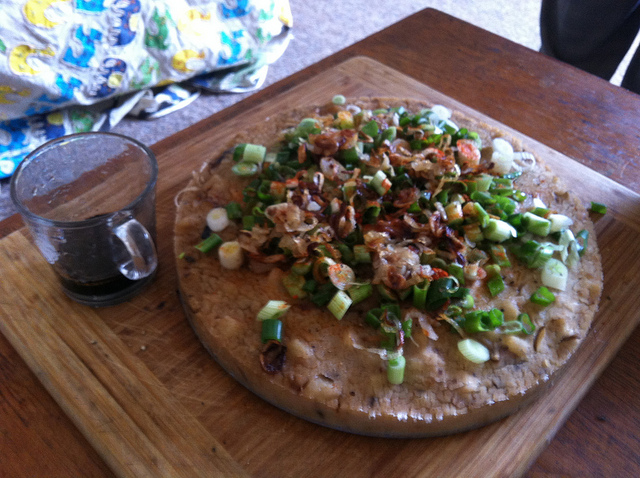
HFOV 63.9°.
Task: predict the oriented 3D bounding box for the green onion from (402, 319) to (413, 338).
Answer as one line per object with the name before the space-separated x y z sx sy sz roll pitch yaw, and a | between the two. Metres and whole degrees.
green onion | 0.252 0.262 1.493 0.030 0.011 0.049 8 76 42

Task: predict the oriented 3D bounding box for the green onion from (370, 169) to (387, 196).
green onion | 0.188 -0.185 1.678 0.052 0.070 0.061 37 83 -12

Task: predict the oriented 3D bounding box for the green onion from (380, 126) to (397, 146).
green onion | 0.246 -0.372 1.854 0.076 0.020 0.044 -35 73 -14

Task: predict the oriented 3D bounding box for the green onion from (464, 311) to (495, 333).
green onion | 0.469 0.239 1.503 0.067 0.058 0.073 8 85 9

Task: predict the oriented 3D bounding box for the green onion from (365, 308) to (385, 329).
green onion | 0.160 0.232 1.522 0.051 0.033 0.052 13 49 16

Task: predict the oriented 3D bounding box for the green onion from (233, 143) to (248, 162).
green onion | -0.282 -0.309 1.838 0.020 0.043 0.056 20 69 -20

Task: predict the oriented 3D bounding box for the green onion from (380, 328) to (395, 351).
green onion | 0.198 0.303 1.486 0.051 0.017 0.056 14 63 8

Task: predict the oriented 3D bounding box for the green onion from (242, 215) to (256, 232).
green onion | -0.238 -0.051 1.688 0.039 0.013 0.044 9 81 9

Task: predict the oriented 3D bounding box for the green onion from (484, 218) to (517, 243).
green onion | 0.576 -0.029 1.645 0.089 0.032 0.065 8 58 -1

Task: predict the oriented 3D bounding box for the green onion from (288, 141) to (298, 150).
green onion | -0.096 -0.337 1.843 0.043 0.012 0.045 -2 83 37

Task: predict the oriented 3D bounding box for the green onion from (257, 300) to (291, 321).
green onion | -0.140 0.208 1.517 0.052 0.078 0.028 -8 92 25

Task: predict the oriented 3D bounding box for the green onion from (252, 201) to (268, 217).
green onion | -0.194 -0.099 1.689 0.046 0.014 0.049 27 54 11

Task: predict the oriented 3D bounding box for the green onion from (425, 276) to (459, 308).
green onion | 0.364 0.156 1.533 0.106 0.034 0.109 5 65 -17

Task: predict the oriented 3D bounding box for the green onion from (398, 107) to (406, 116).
green onion | 0.324 -0.510 2.029 0.036 0.009 0.037 24 53 -3

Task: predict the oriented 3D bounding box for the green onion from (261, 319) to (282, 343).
green onion | -0.139 0.277 1.532 0.054 0.065 0.064 6 52 -9

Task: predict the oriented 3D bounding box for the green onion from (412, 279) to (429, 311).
green onion | 0.300 0.165 1.534 0.051 0.091 0.050 23 45 34

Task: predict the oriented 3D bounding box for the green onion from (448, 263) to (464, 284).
green onion | 0.415 0.105 1.576 0.053 0.040 0.013 58 35 -8

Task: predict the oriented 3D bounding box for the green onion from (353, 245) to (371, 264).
green onion | 0.127 0.042 1.650 0.046 0.053 0.054 -16 34 37

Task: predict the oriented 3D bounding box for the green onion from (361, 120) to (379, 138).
green onion | 0.180 -0.395 1.833 0.052 0.018 0.053 -38 89 -1

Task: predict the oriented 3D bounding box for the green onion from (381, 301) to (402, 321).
green onion | 0.209 0.215 1.521 0.042 0.031 0.029 53 33 -5

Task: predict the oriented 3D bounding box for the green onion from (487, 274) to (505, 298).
green onion | 0.539 0.142 1.588 0.059 0.024 0.060 -20 66 -5

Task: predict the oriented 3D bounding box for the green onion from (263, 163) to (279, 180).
green onion | -0.166 -0.233 1.763 0.018 0.051 0.050 13 31 -12

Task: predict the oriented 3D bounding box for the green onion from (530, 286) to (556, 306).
green onion | 0.681 0.180 1.573 0.066 0.025 0.055 -35 64 -22

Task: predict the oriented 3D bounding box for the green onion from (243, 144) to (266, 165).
green onion | -0.234 -0.300 1.859 0.073 0.066 0.062 9 41 2

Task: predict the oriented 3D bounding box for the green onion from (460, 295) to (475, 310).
green onion | 0.440 0.192 1.545 0.046 0.031 0.033 24 58 14

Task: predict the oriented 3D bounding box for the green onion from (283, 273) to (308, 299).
green onion | -0.075 0.143 1.583 0.055 0.018 0.075 -23 62 -8

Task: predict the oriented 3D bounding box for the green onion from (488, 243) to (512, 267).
green onion | 0.574 0.052 1.643 0.048 0.017 0.080 -22 58 -9

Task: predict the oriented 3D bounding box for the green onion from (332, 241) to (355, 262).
green onion | 0.074 0.038 1.608 0.039 0.017 0.066 -42 90 -23

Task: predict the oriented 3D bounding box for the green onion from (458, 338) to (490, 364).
green onion | 0.440 0.323 1.479 0.093 0.034 0.062 20 58 11

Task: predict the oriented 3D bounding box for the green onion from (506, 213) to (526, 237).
green onion | 0.651 -0.048 1.701 0.069 0.027 0.070 -18 80 -20

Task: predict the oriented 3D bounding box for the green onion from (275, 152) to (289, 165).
green onion | -0.131 -0.290 1.833 0.033 0.015 0.049 -5 32 -11

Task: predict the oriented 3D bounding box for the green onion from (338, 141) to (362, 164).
green onion | 0.100 -0.287 1.754 0.071 0.054 0.071 -29 49 -22

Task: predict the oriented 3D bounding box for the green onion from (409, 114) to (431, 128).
green onion | 0.379 -0.454 1.946 0.064 0.037 0.065 -8 37 3

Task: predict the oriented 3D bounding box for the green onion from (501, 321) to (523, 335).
green onion | 0.563 0.259 1.507 0.045 0.011 0.042 -1 53 7

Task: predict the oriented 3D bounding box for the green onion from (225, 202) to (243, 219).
green onion | -0.289 -0.092 1.757 0.049 0.051 0.053 -9 57 -43

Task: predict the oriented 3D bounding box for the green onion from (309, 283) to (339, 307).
green onion | 0.012 0.170 1.553 0.090 0.025 0.054 -43 82 -13

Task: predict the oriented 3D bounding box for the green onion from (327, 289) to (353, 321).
green onion | 0.059 0.196 1.520 0.047 0.075 0.074 33 81 13

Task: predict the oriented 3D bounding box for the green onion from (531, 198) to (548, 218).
green onion | 0.748 -0.105 1.771 0.063 0.022 0.060 -43 45 -19

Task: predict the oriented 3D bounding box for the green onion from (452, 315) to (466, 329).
green onion | 0.411 0.241 1.517 0.043 0.019 0.028 30 60 17

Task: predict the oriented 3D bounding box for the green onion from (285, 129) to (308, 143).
green onion | -0.089 -0.393 1.885 0.063 0.016 0.061 -5 42 0
